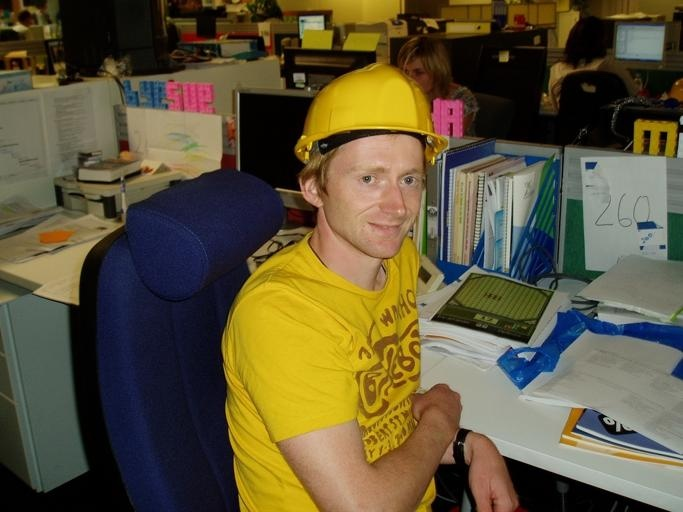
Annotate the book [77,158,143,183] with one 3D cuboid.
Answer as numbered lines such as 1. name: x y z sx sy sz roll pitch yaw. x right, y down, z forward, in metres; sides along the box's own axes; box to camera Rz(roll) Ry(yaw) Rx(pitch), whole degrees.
1. book: -0.989 -0.382 2.414 0.155 0.051 0.154 4 21 20

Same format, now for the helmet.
1. helmet: 0.069 -0.266 1.131 0.210 0.139 0.256 -7 -1 -27

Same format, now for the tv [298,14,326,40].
1. tv: -0.327 -2.616 6.190 0.302 0.245 0.574 -1 17 -2

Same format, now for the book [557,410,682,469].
1. book: 0.627 0.404 1.252 0.242 0.047 0.118 7 18 21

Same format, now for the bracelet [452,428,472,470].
1. bracelet: 0.278 0.452 1.296 0.028 0.076 0.061 2 -2 -1
